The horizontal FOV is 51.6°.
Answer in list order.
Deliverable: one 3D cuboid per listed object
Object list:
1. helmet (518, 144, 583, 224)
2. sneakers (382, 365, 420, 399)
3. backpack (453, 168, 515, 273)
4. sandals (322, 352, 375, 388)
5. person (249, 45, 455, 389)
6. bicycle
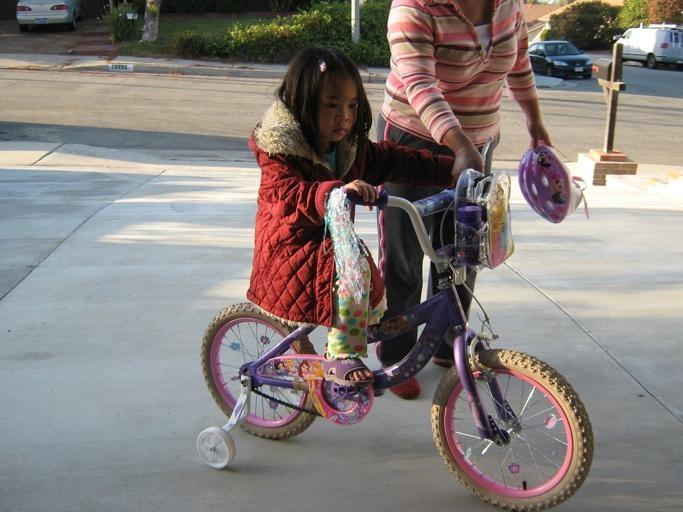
[{"bbox_3d":[1.042,-0.347,3.605,0.181,0.331,0.393,-10,41,-6],"label":"helmet"},{"bbox_3d":[0.339,0.694,3.831,0.209,0.165,0.088,22,47,-6],"label":"sneakers"},{"bbox_3d":[0.622,-0.159,3.077,0.264,0.425,0.245,3,20,8],"label":"backpack"},{"bbox_3d":[0.026,0.526,3.290,0.145,0.132,0.296,-1,2,-38],"label":"sandals"},{"bbox_3d":[-0.065,-0.195,3.290,0.729,1.482,0.706,3,20,9],"label":"person"},{"bbox_3d":[0.175,0.314,3.685,2.287,1.512,1.166,5,13,29],"label":"bicycle"}]
